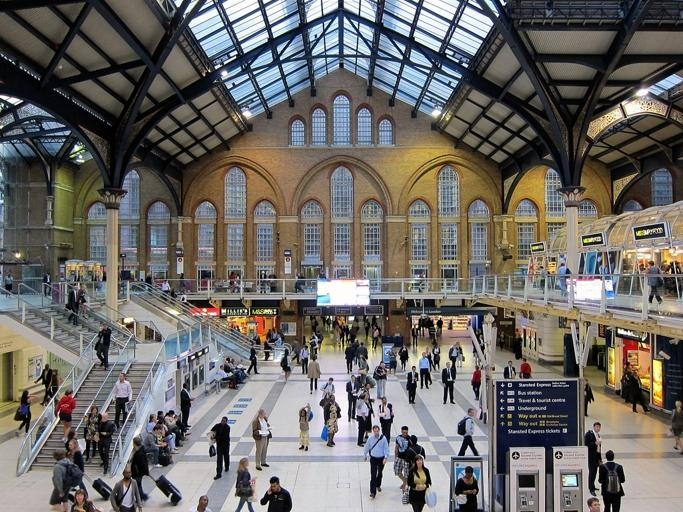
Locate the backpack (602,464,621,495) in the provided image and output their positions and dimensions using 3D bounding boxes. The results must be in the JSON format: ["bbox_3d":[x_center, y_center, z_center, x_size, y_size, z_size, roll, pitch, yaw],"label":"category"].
[{"bbox_3d":[7.983,6.621,16.916,0.538,0.881,0.194,1,-7,-2],"label":"backpack"}]

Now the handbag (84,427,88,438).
[{"bbox_3d":[-9.220,6.355,20.470,0.081,0.338,0.554,5,-8,-30],"label":"handbag"}]

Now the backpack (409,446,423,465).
[{"bbox_3d":[2.238,6.172,17.552,0.556,0.610,0.329,1,0,6],"label":"backpack"}]

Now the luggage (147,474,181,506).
[{"bbox_3d":[-5.610,7.440,18.327,0.619,1.155,0.426,-44,-1,38],"label":"luggage"}]

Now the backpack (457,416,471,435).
[{"bbox_3d":[4.297,6.005,20.115,0.598,0.664,0.486,4,-5,3],"label":"backpack"}]

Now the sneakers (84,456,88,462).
[{"bbox_3d":[-9.150,7.268,20.355,0.089,0.177,0.176,2,-8,-6],"label":"sneakers"}]

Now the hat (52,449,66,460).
[{"bbox_3d":[-8.771,6.220,17.702,0.307,0.405,0.696,4,-8,-27],"label":"hat"}]

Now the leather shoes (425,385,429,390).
[{"bbox_3d":[4.363,6.808,29.341,0.138,0.144,0.075,-4,7,-34],"label":"leather shoes"}]

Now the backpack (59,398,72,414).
[{"bbox_3d":[-10.273,5.589,21.172,0.502,0.544,0.299,0,-10,-23],"label":"backpack"}]

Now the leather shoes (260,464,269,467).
[{"bbox_3d":[-2.784,7.473,20.339,0.256,0.119,0.097,-1,0,-6],"label":"leather shoes"}]

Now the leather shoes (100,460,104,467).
[{"bbox_3d":[-8.502,7.360,20.170,0.052,0.182,0.282,5,-8,-35],"label":"leather shoes"}]

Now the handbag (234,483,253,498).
[{"bbox_3d":[-2.945,7.084,17.203,0.536,0.467,0.194,0,-7,3],"label":"handbag"}]

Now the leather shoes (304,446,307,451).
[{"bbox_3d":[-1.399,7.338,21.722,0.127,0.134,0.168,1,-7,-4],"label":"leather shoes"}]

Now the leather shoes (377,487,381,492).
[{"bbox_3d":[1.204,7.746,18.876,0.125,0.133,0.081,14,-19,-34],"label":"leather shoes"}]

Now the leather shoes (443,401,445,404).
[{"bbox_3d":[4.723,6.883,26.723,0.108,0.211,0.141,-1,-17,5],"label":"leather shoes"}]

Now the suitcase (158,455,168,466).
[{"bbox_3d":[-6.328,7.270,20.363,0.351,0.390,0.359,0,9,3],"label":"suitcase"}]

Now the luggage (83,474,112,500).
[{"bbox_3d":[-8.052,7.692,18.984,0.693,0.660,1.211,4,-8,-27],"label":"luggage"}]

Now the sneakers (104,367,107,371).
[{"bbox_3d":[-9.970,4.778,24.029,0.073,0.133,0.060,-2,-15,0],"label":"sneakers"}]

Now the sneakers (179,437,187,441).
[{"bbox_3d":[-6.303,7.287,22.607,0.271,0.130,0.099,-2,1,3],"label":"sneakers"}]

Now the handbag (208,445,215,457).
[{"bbox_3d":[-4.698,7.094,20.621,0.221,0.496,0.755,2,-7,-13],"label":"handbag"}]

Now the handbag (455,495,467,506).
[{"bbox_3d":[3.425,7.036,16.515,0.326,0.347,0.336,-11,-27,39],"label":"handbag"}]

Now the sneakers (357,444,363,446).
[{"bbox_3d":[0.702,7.302,21.938,0.213,0.078,0.098,2,-7,-12],"label":"sneakers"}]
